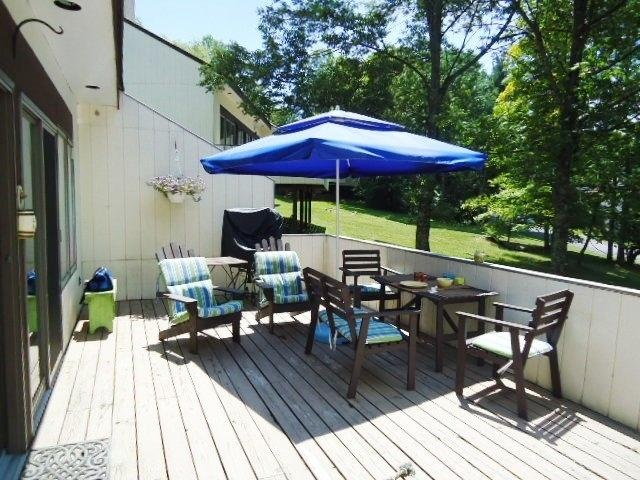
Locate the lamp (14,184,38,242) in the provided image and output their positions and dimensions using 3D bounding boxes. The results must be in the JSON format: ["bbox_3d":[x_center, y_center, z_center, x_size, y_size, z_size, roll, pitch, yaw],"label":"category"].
[{"bbox_3d":[-2.385,-0.235,3.970,0.121,0.429,0.309,-7,15,-28],"label":"lamp"}]

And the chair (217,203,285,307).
[{"bbox_3d":[-0.828,0.152,8.157,1.122,1.664,1.222,-1,3,-30],"label":"chair"}]

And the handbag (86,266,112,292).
[{"bbox_3d":[-2.856,0.481,6.378,0.285,0.314,0.313,7,-4,-32],"label":"handbag"}]

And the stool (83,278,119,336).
[{"bbox_3d":[-2.826,0.887,6.391,0.413,0.556,0.710,-1,6,-22],"label":"stool"}]

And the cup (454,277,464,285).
[{"bbox_3d":[1.656,0.486,5.813,0.077,0.085,0.082,0,-4,0],"label":"cup"}]
